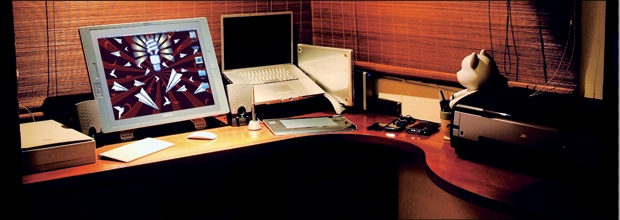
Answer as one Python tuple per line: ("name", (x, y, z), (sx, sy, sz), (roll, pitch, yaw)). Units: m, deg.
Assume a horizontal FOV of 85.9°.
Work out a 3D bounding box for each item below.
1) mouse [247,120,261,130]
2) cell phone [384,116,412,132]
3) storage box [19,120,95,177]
("mouse", (-0.688, 0.185, 4.086), (0.170, 0.060, 0.155), (-6, 12, -36))
("cell phone", (1.100, 0.171, 4.080), (0.352, 0.047, 0.177), (-18, 21, -38))
("storage box", (-2.783, 0.386, 3.667), (0.745, 0.382, 0.567), (-11, 28, -18))
